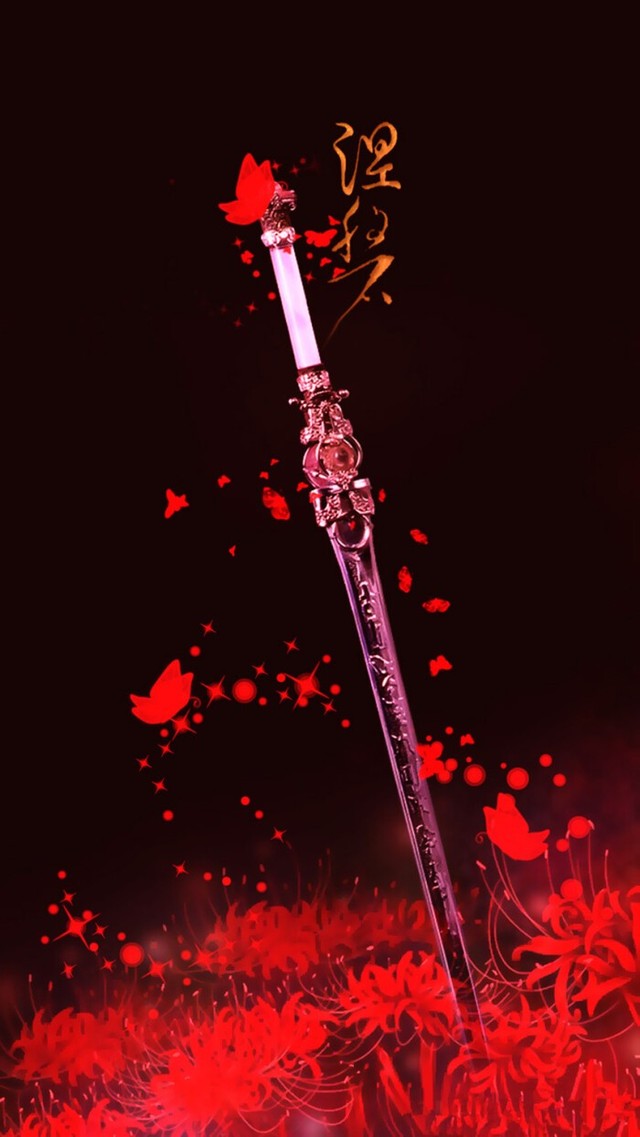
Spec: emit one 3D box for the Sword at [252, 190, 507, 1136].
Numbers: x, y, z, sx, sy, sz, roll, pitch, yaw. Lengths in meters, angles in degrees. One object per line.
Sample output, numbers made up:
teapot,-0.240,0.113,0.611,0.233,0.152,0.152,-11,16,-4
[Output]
Sword,0.088,0.153,1.666,0.118,1.429,0.147,-15,0,5
